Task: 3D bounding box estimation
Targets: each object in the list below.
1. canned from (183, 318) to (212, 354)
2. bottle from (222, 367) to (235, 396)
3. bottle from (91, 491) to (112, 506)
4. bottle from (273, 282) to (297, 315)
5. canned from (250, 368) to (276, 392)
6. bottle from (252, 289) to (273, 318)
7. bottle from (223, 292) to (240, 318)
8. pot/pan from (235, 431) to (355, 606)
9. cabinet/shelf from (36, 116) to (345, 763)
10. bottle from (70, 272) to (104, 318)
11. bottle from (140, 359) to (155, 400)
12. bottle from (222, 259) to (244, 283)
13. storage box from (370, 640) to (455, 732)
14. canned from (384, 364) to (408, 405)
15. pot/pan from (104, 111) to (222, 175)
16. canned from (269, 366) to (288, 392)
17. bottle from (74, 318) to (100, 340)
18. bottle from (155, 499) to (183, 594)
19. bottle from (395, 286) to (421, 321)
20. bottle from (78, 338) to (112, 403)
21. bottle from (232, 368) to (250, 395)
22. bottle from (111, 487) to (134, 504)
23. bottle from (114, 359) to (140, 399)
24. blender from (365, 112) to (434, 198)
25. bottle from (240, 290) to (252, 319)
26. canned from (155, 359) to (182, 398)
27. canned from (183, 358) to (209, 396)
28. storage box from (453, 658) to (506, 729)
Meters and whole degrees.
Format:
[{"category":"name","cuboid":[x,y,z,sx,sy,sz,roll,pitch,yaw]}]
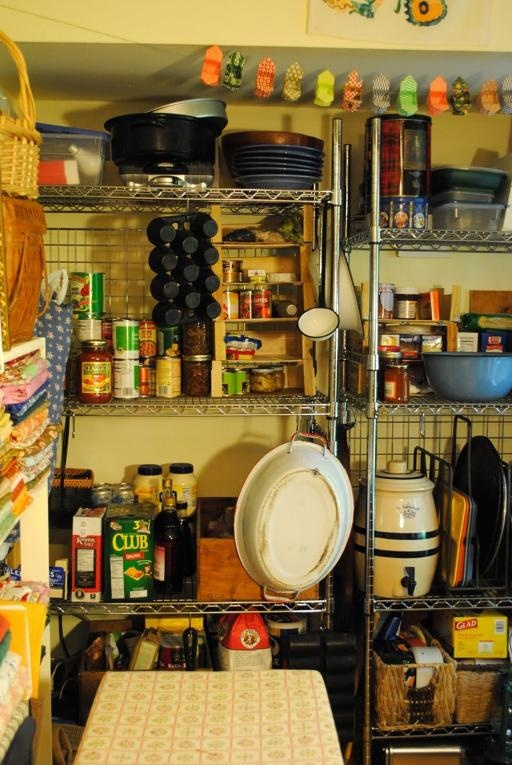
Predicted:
[{"category":"canned","cuboid":[-0.158,-0.124,1.646,0.080,0.093,0.079,-5,9,-42]},{"category":"bottle","cuboid":[-0.079,-0.003,1.695,0.020,0.073,0.046,3,0,45]},{"category":"bottle","cuboid":[-0.441,0.324,1.746,0.043,0.043,0.044,2,8,1]},{"category":"bottle","cuboid":[0.083,-0.240,1.792,0.066,0.119,0.115,-1,2,-5]},{"category":"canned","cuboid":[0.017,-0.012,1.743,0.062,0.062,0.063,-3,6,-31]},{"category":"bottle","cuboid":[0.016,-0.224,1.704,0.055,0.090,0.082,3,0,1]},{"category":"bottle","cuboid":[-0.072,-0.215,1.719,0.065,0.079,0.067,0,0,-5]},{"category":"pot/pan","cuboid":[0.090,0.332,1.492,0.278,0.373,0.144,3,0,10]},{"category":"cabinet/shelf","cuboid":[-0.184,0.107,1.820,0.749,1.498,0.633,-3,10,-12]},{"category":"bottle","cuboid":[-0.437,-0.235,1.630,0.106,0.127,0.110,5,9,24]},{"category":"bottle","cuboid":[-0.300,-0.012,1.686,0.047,0.104,0.024,3,0,-13]},{"category":"bottle","cuboid":[-0.068,-0.315,1.735,0.061,0.070,0.062,-2,6,-23]},{"category":"storage box","cuboid":[0.418,0.800,1.643,0.182,0.132,0.188,0,2,-5]},{"category":"canned","cuboid":[0.375,0.001,1.642,0.064,0.099,0.052,3,0,2]},{"category":"pot/pan","cuboid":[-0.233,-0.582,1.517,0.201,0.092,0.214,2,5,10]},{"category":"canned","cuboid":[0.061,-0.015,1.797,0.060,0.105,0.062,0,-2,-6]},{"category":"bottle","cuboid":[-0.448,-0.142,1.635,0.056,0.060,0.064,-4,1,-6]},{"category":"bottle","cuboid":[-0.233,0.421,1.640,0.083,0.276,0.062,3,0,-9]},{"category":"bottle","cuboid":[0.445,-0.233,1.822,0.083,0.107,0.085,0,3,0]},{"category":"bottle","cuboid":[-0.414,-0.029,1.585,0.087,0.166,0.061,3,0,-17]},{"category":"bottle","cuboid":[-0.043,-0.004,1.760,0.056,0.102,0.062,0,4,0]},{"category":"bottle","cuboid":[-0.388,0.316,1.765,0.043,0.044,0.046,3,9,9]},{"category":"bottle","cuboid":[-0.346,-0.010,1.632,0.067,0.107,0.035,3,0,-21]},{"category":"blender","cuboid":[0.393,-0.619,1.723,0.180,0.210,0.185,3,12,23]},{"category":"bottle","cuboid":[-0.029,-0.219,1.703,0.040,0.082,0.055,3,0,0]},{"category":"canned","cuboid":[-0.236,-0.018,1.722,0.087,0.149,0.097,-2,6,-15]},{"category":"canned","cuboid":[-0.163,-0.015,1.710,0.088,0.102,0.090,1,4,15]},{"category":"storage box","cuboid":[0.577,0.808,1.639,0.125,0.123,0.167,0,-4,1]}]
